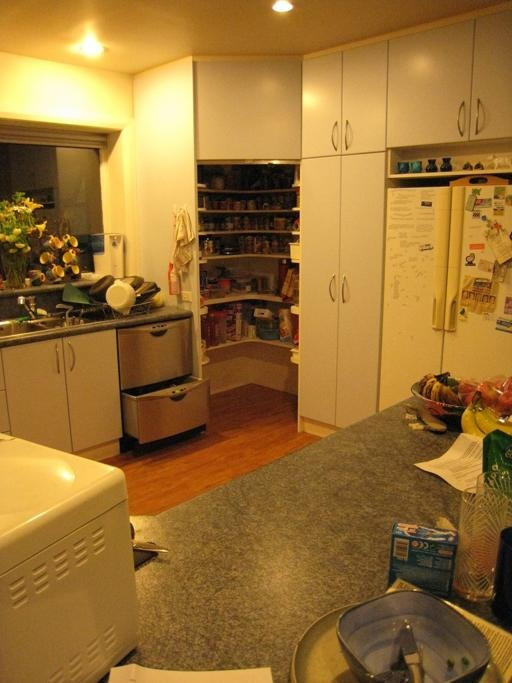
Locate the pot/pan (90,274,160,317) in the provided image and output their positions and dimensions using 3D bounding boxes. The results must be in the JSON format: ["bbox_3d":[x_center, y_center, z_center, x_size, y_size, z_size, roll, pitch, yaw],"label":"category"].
[{"bbox_3d":[-0.835,-0.323,3.668,0.291,0.258,0.480,0,9,39],"label":"pot/pan"}]

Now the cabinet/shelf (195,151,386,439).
[{"bbox_3d":[0.231,-0.375,3.935,1.866,1.779,0.718,13,20,41],"label":"cabinet/shelf"}]

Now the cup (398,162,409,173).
[{"bbox_3d":[0.856,-1.019,3.190,0.070,0.069,0.058,-3,12,-9],"label":"cup"}]

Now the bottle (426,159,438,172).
[{"bbox_3d":[1.016,-1.008,3.142,0.077,0.074,0.078,8,16,39],"label":"bottle"}]

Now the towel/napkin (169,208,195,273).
[{"bbox_3d":[-0.509,-0.689,3.736,0.099,0.440,0.190,-13,10,-43],"label":"towel/napkin"}]

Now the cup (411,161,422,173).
[{"bbox_3d":[0.913,-1.003,3.136,0.072,0.075,0.069,-2,17,0],"label":"cup"}]

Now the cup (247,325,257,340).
[{"bbox_3d":[-0.044,-0.075,4.818,0.074,0.123,0.125,-5,10,-42],"label":"cup"}]

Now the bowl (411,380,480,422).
[{"bbox_3d":[0.573,0.162,1.682,0.224,0.089,0.215,0,12,0],"label":"bowl"}]
